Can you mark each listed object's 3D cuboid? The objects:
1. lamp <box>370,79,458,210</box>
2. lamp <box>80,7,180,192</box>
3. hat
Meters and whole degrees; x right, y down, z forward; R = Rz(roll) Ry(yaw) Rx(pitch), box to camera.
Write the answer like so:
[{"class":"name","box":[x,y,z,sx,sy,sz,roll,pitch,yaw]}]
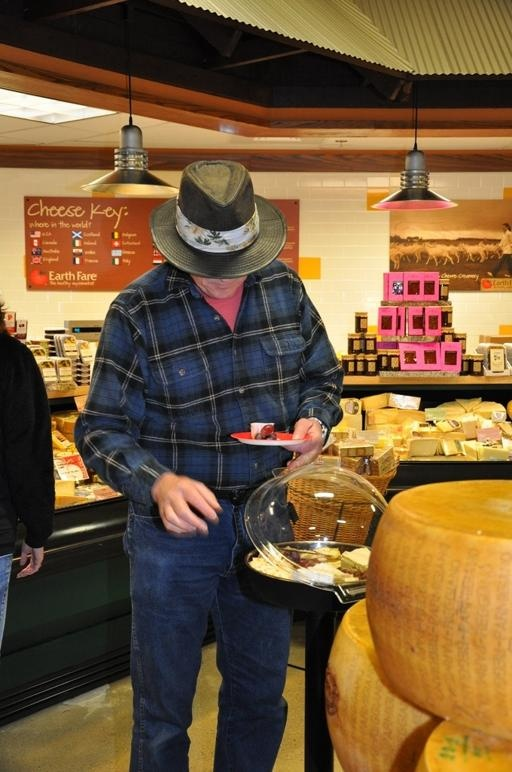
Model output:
[{"class":"lamp","box":[0.971,-1.421,3.696,0.504,0.795,0.525,-1,8,4]},{"class":"lamp","box":[-0.718,-1.449,3.321,0.345,1.094,0.367,-2,9,-22]},{"class":"hat","box":[-0.097,-0.482,1.523,0.383,0.162,0.398,-6,51,-8]}]
